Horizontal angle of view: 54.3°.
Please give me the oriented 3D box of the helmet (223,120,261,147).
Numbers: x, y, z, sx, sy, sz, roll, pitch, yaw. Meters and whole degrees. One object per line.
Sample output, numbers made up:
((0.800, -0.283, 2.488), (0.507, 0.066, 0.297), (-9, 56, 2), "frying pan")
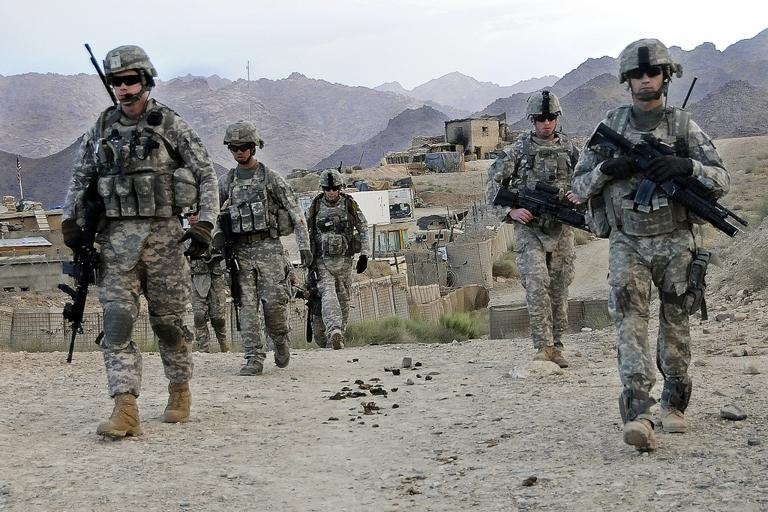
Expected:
((-1.734, -1.475, 9.111), (0.387, 0.218, 0.358), (0, 7, 5), "helmet")

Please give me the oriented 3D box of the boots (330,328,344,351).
((-0.707, 1.251, 11.153), (0.157, 0.175, 0.386), (2, -36, -5), "boots")

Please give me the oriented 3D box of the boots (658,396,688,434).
((2.323, 1.284, 6.066), (0.198, 0.164, 0.509), (2, 4, 7), "boots")

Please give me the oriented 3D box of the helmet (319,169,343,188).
((-0.820, -1.190, 11.570), (0.297, 0.252, 0.349), (1, 13, 7), "helmet")

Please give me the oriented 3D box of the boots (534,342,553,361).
((1.845, 1.120, 8.702), (0.199, 0.200, 0.457), (-5, 3, 21), "boots")

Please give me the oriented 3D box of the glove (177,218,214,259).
((-1.620, -0.141, 6.498), (0.293, 0.253, 0.386), (-8, 4, -15), "glove")

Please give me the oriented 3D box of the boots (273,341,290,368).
((-1.305, 1.249, 9.568), (0.173, 0.350, 0.159), (-6, 8, -4), "boots")

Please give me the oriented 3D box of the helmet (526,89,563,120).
((1.911, -1.824, 9.057), (0.378, 0.354, 0.453), (-6, 4, 12), "helmet")

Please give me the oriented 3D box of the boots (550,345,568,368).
((2.035, 1.175, 8.746), (0.188, 0.208, 0.448), (-6, 3, 12), "boots")

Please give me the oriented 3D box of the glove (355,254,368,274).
((-0.352, 0.135, 11.803), (0.237, 0.318, 0.089), (4, 0, 4), "glove")

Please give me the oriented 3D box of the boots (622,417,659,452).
((1.869, 1.319, 5.526), (0.223, 0.240, 0.216), (-6, 4, 16), "boots")

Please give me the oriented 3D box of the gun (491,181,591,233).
((1.940, -0.571, 8.843), (1.544, 0.476, 0.176), (15, 5, -27), "gun")

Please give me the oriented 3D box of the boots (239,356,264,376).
((-1.614, 1.335, 9.106), (0.277, 0.179, 0.190), (-7, 4, -7), "boots")

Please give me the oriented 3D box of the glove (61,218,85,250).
((-2.727, -0.191, 6.577), (0.206, 0.252, 0.081), (-12, 14, -18), "glove")
